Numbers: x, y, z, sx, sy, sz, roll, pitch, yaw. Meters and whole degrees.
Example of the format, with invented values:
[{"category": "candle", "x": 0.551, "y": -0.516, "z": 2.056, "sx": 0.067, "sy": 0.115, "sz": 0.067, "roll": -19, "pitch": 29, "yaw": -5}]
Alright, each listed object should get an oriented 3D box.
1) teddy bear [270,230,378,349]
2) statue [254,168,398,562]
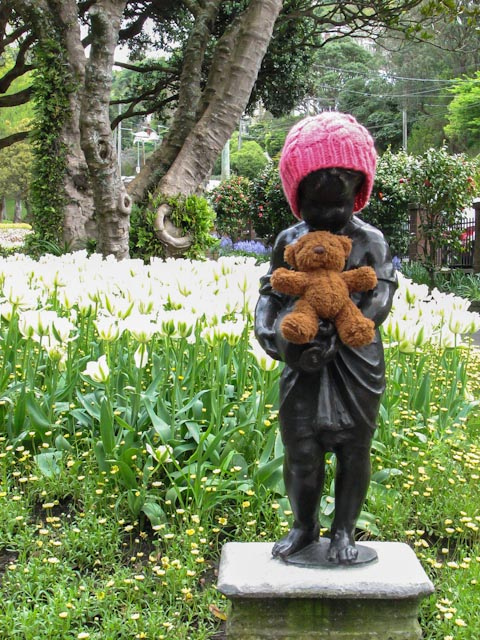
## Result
[{"category": "teddy bear", "x": 0.223, "y": -0.088, "z": 1.673, "sx": 0.287, "sy": 0.302, "sz": 0.175, "roll": 0, "pitch": 16, "yaw": 2}, {"category": "statue", "x": 0.193, "y": 0.126, "z": 1.900, "sx": 0.586, "sy": 1.069, "sz": 0.443, "roll": 1, "pitch": 10, "yaw": 6}]
